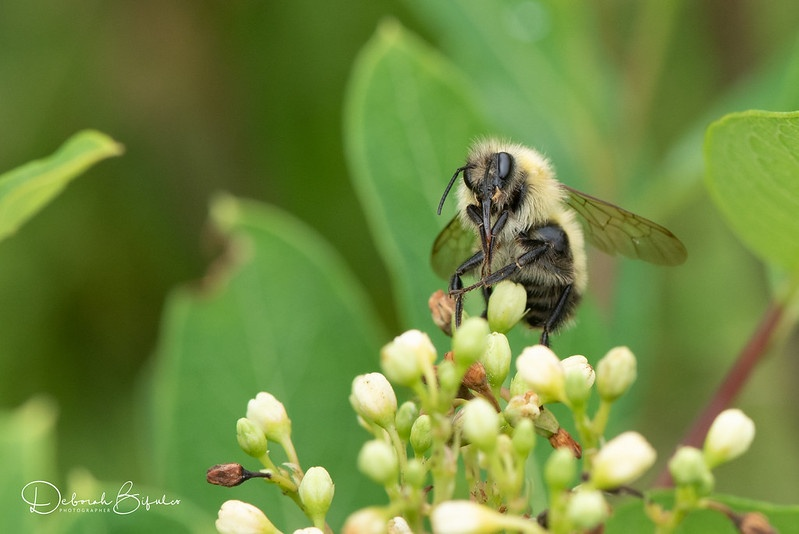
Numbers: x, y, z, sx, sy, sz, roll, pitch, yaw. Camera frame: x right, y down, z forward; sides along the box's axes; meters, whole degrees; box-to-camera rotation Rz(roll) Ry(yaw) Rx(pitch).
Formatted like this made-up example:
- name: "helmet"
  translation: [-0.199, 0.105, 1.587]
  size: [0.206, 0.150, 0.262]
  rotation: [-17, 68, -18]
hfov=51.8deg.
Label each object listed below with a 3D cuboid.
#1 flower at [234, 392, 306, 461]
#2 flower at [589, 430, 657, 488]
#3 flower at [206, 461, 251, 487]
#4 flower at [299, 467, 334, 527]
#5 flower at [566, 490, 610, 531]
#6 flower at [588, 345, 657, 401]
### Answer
- name: "flower"
  translation: [-0.286, 0.348, 1.876]
  size: [0.078, 0.196, 0.056]
  rotation: [-31, 5, 27]
- name: "flower"
  translation: [0.414, 0.378, 1.587]
  size: [0.156, 0.105, 0.090]
  rotation: [0, 0, -39]
- name: "flower"
  translation: [-0.374, 0.462, 1.827]
  size: [0.093, 0.054, 0.037]
  rotation: [2, 3, 8]
- name: "flower"
  translation: [-0.179, 0.499, 1.768]
  size: [0.075, 0.127, 0.060]
  rotation: [-6, -31, -5]
- name: "flower"
  translation: [0.347, 0.450, 1.527]
  size: [0.079, 0.073, 0.076]
  rotation: [-11, -32, 0]
- name: "flower"
  translation: [0.453, 0.197, 1.653]
  size: [0.075, 0.080, 0.124]
  rotation: [16, -60, -2]
